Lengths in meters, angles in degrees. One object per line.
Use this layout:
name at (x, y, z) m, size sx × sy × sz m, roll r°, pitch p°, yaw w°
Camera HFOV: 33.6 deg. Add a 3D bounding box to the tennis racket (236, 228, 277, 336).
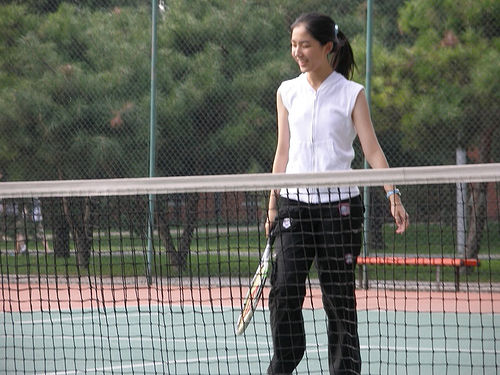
tennis racket at (0.067, 1.075, 9.529) m, size 0.452 × 1.271 × 0.500 m, roll -1°, pitch 8°, yaw -2°
